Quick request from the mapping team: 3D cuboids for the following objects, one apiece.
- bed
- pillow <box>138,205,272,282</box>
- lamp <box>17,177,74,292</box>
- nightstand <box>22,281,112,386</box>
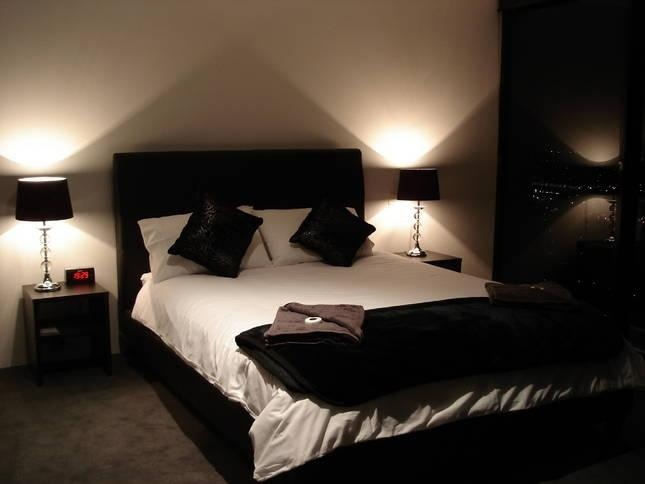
[{"bbox_3d":[-0.042,0.496,3.181,1.983,1.823,2.790,-5,12,-29],"label":"bed"},{"bbox_3d":[-0.904,-0.118,4.046,0.628,0.270,1.058,2,23,7],"label":"pillow"},{"bbox_3d":[-2.062,-0.073,3.580,0.352,0.826,0.381,-10,15,-33],"label":"lamp"},{"bbox_3d":[-1.960,0.691,3.696,0.548,0.620,0.444,-2,6,-42],"label":"nightstand"}]
